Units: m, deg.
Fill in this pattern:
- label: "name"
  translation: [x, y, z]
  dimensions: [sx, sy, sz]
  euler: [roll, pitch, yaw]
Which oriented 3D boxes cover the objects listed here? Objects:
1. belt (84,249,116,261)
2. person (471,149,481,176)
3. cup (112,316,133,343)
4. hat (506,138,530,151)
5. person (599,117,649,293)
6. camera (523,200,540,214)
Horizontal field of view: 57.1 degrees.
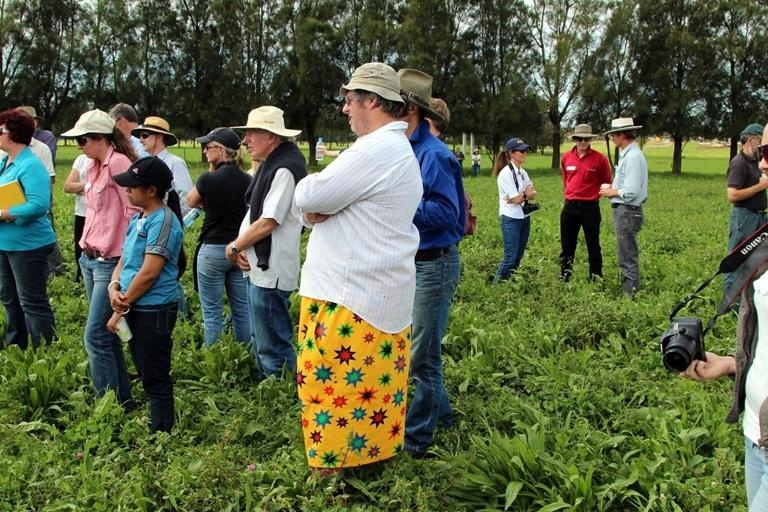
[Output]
- label: "belt"
  translation: [-3.365, -0.015, 8.266]
  dimensions: [0.163, 0.082, 0.210]
  euler: [10, 3, 6]
- label: "person"
  translation: [5.630, -5.694, 43.375]
  dimensions: [0.389, 1.507, 1.715]
  euler: [2, 7, 6]
- label: "cup"
  translation: [-2.847, 0.798, 7.745]
  dimensions: [0.186, 0.294, 0.163]
  euler: [1, 6, -1]
- label: "hat"
  translation: [2.299, -1.898, 12.173]
  dimensions: [0.300, 0.199, 0.236]
  euler: [3, 13, 25]
- label: "person"
  translation: [3.850, -0.826, 11.340]
  dimensions: [0.724, 2.753, 0.903]
  euler: [2, 6, 10]
- label: "camera"
  translation: [2.519, -0.822, 12.053]
  dimensions: [0.284, 0.221, 0.425]
  euler: [1, -4, 19]
